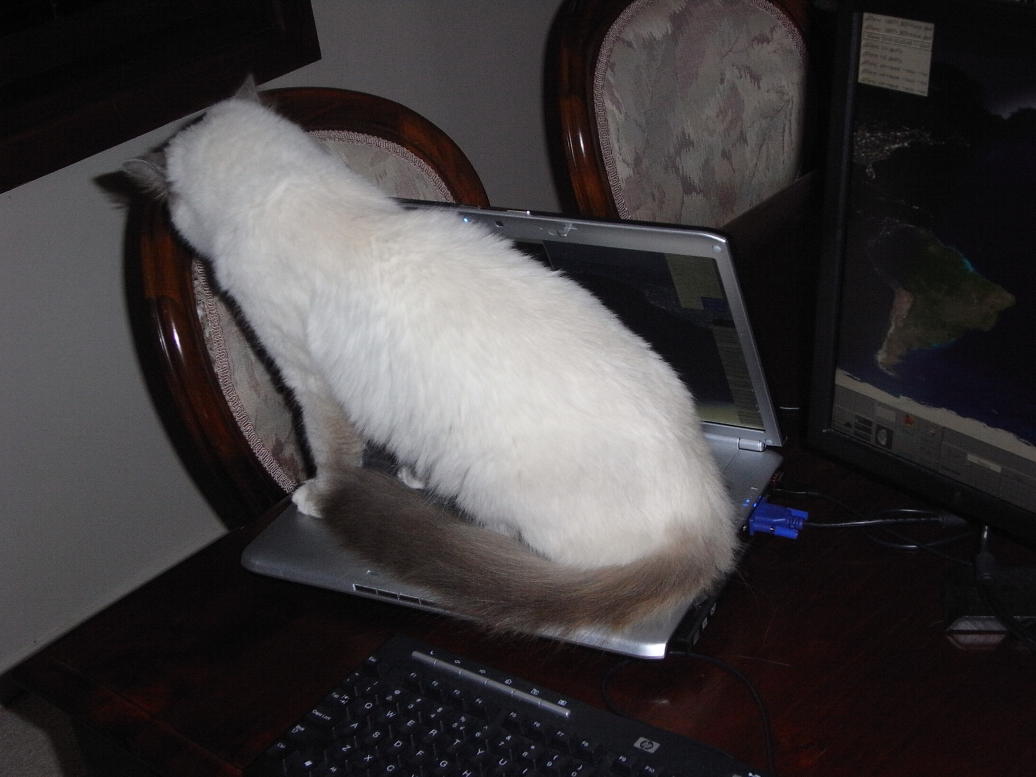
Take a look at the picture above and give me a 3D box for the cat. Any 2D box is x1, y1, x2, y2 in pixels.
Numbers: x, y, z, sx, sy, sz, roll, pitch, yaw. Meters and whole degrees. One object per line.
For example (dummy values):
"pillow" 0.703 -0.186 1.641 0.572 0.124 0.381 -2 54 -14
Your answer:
"cat" -0.133 -0.061 1.113 0.856 0.399 0.344 35 44 16

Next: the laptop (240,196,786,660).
"laptop" 0.020 0.111 1.062 0.609 0.448 0.429 20 32 5
